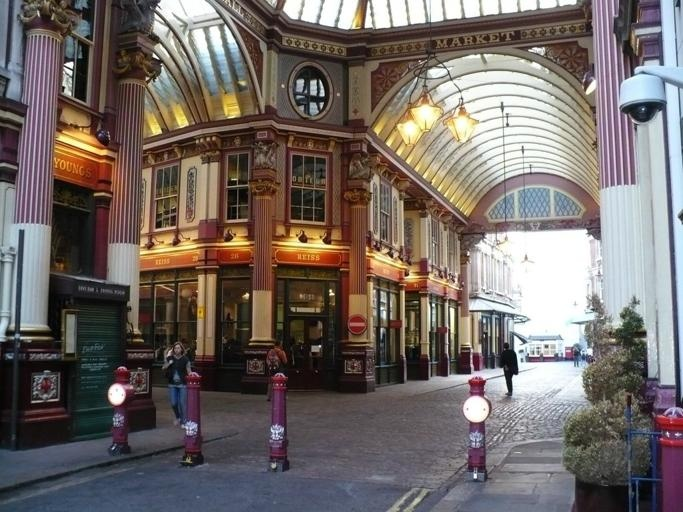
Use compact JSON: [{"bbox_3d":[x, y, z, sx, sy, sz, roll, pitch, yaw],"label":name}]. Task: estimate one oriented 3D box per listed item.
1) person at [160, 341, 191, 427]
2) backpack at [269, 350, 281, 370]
[{"bbox_3d":[-3.827,2.967,14.600,0.576,1.922,1.305,1,-10,-17],"label":"person"},{"bbox_3d":[-2.149,3.367,20.376,0.516,0.869,0.418,1,-17,-6],"label":"backpack"}]
